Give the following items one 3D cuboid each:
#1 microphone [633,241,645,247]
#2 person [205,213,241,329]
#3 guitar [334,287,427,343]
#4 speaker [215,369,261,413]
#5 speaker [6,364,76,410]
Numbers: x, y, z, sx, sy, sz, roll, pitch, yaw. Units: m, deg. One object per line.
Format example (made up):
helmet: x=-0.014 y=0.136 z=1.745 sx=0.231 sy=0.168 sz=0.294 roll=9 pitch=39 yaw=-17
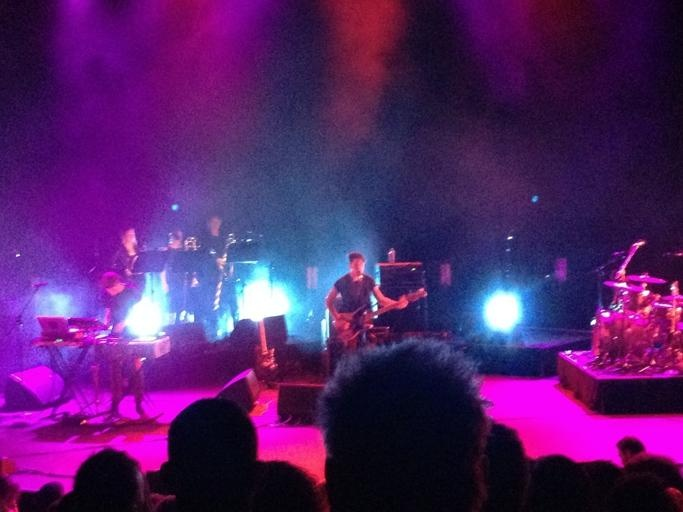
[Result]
microphone: x=4.118 y=-0.164 z=7.923 sx=0.063 sy=0.117 sz=0.168 roll=14 pitch=0 yaw=2
person: x=-2.075 y=0.334 z=9.700 sx=0.368 sy=2.174 sz=0.637 roll=-3 pitch=5 yaw=5
guitar: x=0.435 y=0.908 z=8.038 sx=1.120 sy=0.740 sz=0.331 roll=0 pitch=-30 yaw=-3
speaker: x=-1.067 y=1.417 z=6.203 sx=0.270 sy=0.547 sz=0.524 roll=-16 pitch=-33 yaw=24
speaker: x=-3.921 y=1.711 z=7.418 sx=0.599 sy=0.487 sz=0.624 roll=4 pitch=2 yaw=21
